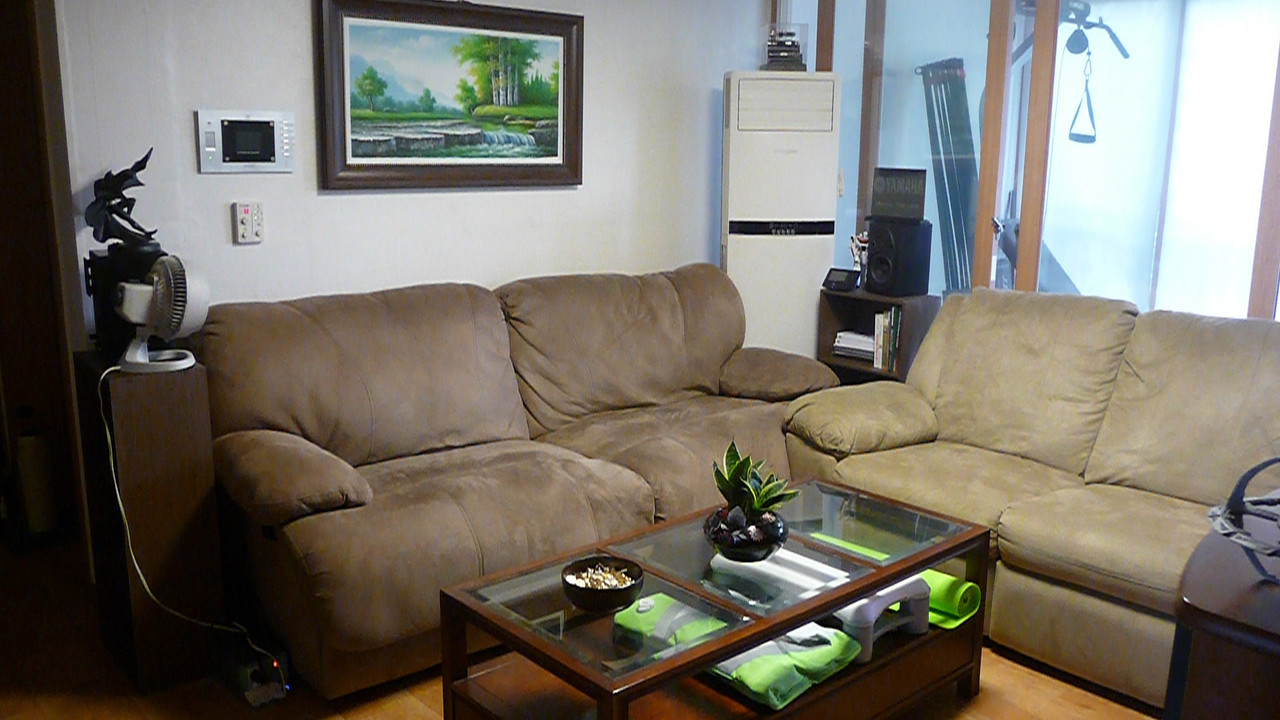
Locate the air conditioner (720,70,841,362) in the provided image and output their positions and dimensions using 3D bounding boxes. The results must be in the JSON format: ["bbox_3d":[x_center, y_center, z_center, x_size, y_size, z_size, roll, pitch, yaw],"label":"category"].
[{"bbox_3d":[0.854,-0.742,5.462,0.805,1.998,0.221,-7,15,-20],"label":"air conditioner"}]

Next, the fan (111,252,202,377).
[{"bbox_3d":[-2.033,-0.197,3.642,0.374,0.434,0.336,11,9,44],"label":"fan"}]

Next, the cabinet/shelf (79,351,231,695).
[{"bbox_3d":[-2.156,0.699,3.694,0.614,1.361,0.425,1,16,12],"label":"cabinet/shelf"}]

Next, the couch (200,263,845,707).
[{"bbox_3d":[-0.633,0.572,3.812,2.035,0.822,0.876,-8,13,-36],"label":"couch"}]

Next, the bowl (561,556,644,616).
[{"bbox_3d":[-0.140,0.824,3.174,0.291,0.158,0.171,-3,14,-2],"label":"bowl"}]

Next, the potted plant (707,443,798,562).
[{"bbox_3d":[0.436,0.567,3.404,0.348,0.438,0.335,-1,12,-16],"label":"potted plant"}]
